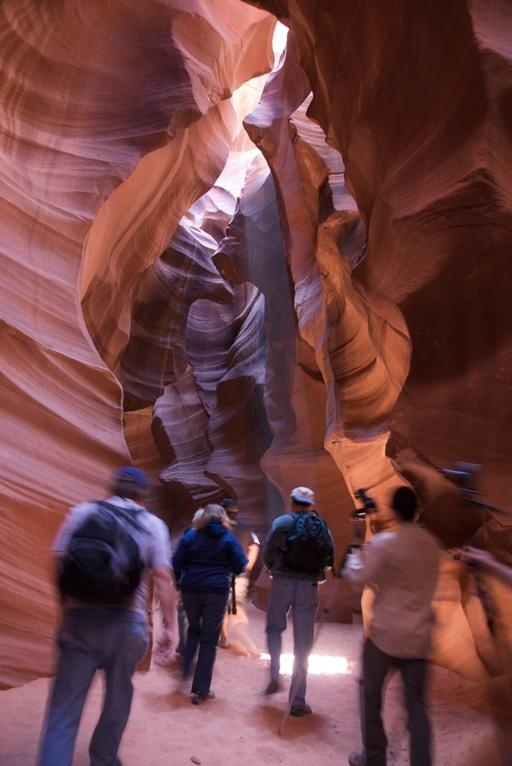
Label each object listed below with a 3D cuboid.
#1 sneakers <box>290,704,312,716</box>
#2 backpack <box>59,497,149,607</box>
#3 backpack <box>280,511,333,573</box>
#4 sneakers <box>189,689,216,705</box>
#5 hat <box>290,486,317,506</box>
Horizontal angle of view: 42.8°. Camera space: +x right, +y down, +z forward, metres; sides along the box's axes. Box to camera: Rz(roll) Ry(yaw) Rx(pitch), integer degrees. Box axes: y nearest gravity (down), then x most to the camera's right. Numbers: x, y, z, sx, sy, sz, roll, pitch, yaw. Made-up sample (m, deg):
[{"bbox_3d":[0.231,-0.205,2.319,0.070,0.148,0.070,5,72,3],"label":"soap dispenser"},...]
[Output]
[{"bbox_3d":[0.260,1.971,3.968,0.156,0.055,0.065,-3,-12,-9],"label":"sneakers"},{"bbox_3d":[-0.583,0.663,2.504,0.280,0.219,0.395,14,39,-13],"label":"backpack"},{"bbox_3d":[0.288,0.977,3.965,0.282,0.330,0.170,16,-24,-23],"label":"backpack"},{"bbox_3d":[-0.339,1.970,4.147,0.065,0.078,0.197,0,-8,27],"label":"sneakers"},{"bbox_3d":[0.293,0.724,4.222,0.158,0.080,0.223,10,-12,-3],"label":"hat"}]
